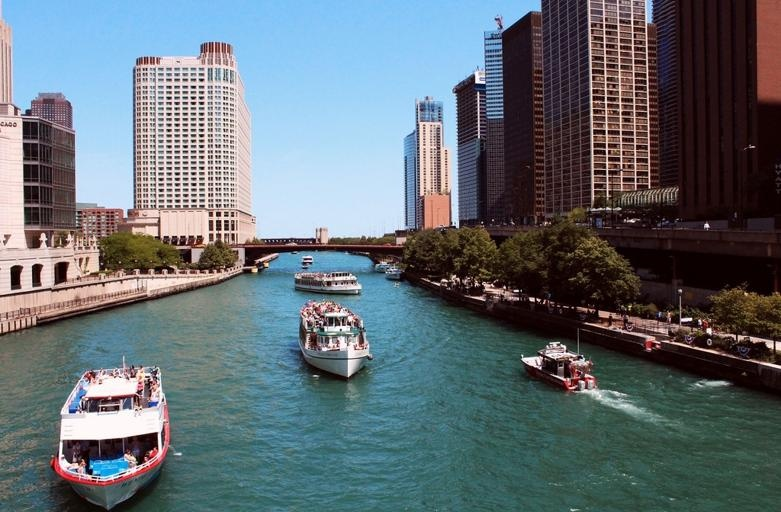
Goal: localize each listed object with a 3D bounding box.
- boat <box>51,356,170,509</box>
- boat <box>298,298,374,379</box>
[{"bbox_3d":[-38.593,25.704,100.181,14.017,15.862,11.078,-2,7,-20],"label":"boat"},{"bbox_3d":[-10.538,14.955,127.519,9.854,9.923,16.583,-2,7,-19],"label":"boat"}]
